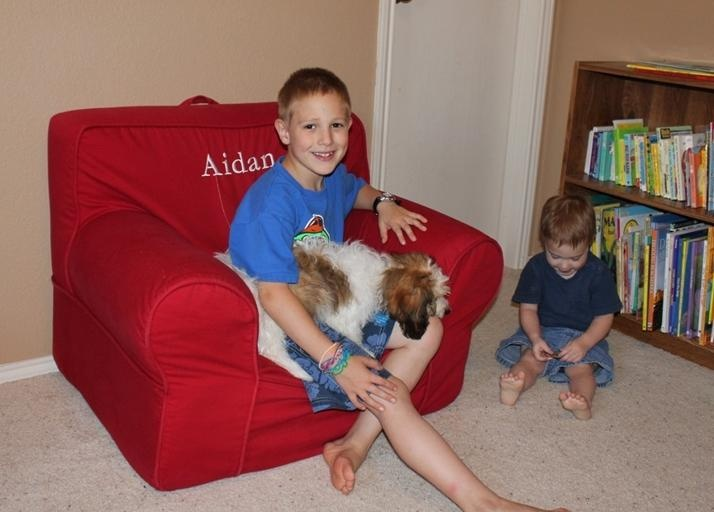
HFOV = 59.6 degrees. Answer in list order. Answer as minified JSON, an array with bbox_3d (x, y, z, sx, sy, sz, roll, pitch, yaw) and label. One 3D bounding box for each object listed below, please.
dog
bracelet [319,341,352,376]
[{"bbox_3d":[-0.041,0.210,1.993,0.715,0.403,0.184,-3,15,33],"label":"dog"},{"bbox_3d":[-0.071,0.290,1.851,0.093,0.085,0.037,-55,37,-8],"label":"bracelet"}]
